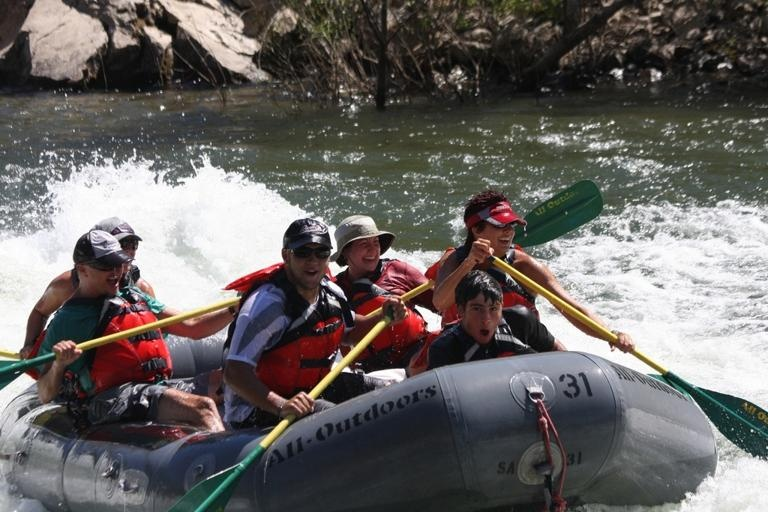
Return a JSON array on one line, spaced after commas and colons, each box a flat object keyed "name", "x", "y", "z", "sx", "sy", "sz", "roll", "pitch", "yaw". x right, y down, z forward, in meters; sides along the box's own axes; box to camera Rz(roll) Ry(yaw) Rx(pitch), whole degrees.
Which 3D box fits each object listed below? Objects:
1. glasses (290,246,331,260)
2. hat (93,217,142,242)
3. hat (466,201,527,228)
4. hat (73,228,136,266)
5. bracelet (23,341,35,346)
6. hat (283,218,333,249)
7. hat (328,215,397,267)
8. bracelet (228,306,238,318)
[{"name": "glasses", "x": -0.581, "y": -0.022, "z": 7.016, "sx": 0.303, "sy": 0.109, "sz": 0.053, "roll": -1, "pitch": 13, "yaw": -11}, {"name": "hat", "x": -2.550, "y": -0.248, "z": 8.385, "sx": 0.329, "sy": 0.168, "sz": 0.222, "roll": -17, "pitch": 0, "yaw": 15}, {"name": "hat", "x": 0.945, "y": -0.343, "z": 7.745, "sx": 0.375, "sy": 0.149, "sz": 0.243, "roll": -6, "pitch": -3, "yaw": 23}, {"name": "hat", "x": -2.390, "y": -0.072, "z": 7.494, "sx": 0.405, "sy": 0.221, "sz": 0.280, "roll": -6, "pitch": 6, "yaw": 9}, {"name": "bracelet", "x": -3.288, "y": 0.820, "z": 8.117, "sx": 0.081, "sy": 0.019, "sz": 0.077, "roll": -6, "pitch": -5, "yaw": -1}, {"name": "hat", "x": -0.652, "y": -0.180, "z": 7.420, "sx": 0.355, "sy": 0.244, "sz": 0.470, "roll": 3, "pitch": -20, "yaw": -5}, {"name": "hat", "x": -0.221, "y": -0.196, "z": 8.216, "sx": 0.540, "sy": 0.293, "sz": 0.465, "roll": -23, "pitch": -14, "yaw": -23}, {"name": "bracelet", "x": -1.367, "y": 0.516, "z": 7.968, "sx": 0.085, "sy": 0.114, "sz": 0.043, "roll": -2, "pitch": 1, "yaw": 12}]
